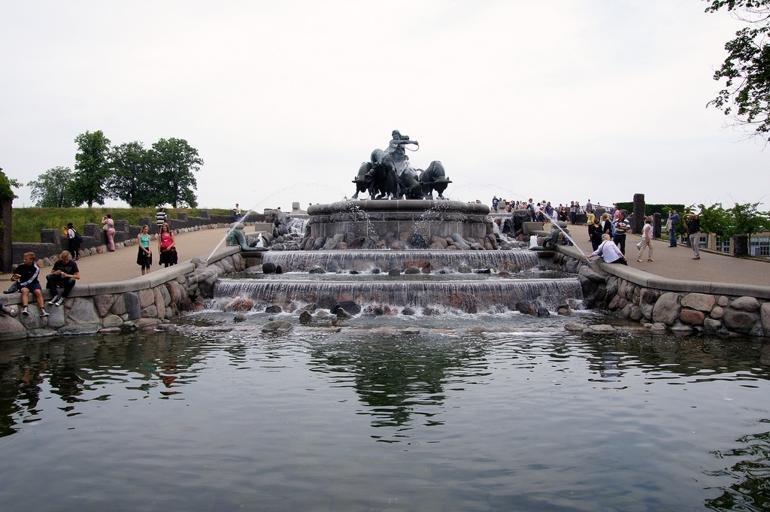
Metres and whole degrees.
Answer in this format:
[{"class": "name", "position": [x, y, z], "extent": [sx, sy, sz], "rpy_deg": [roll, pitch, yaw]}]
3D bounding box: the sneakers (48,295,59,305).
[{"class": "sneakers", "position": [-8.951, 1.198, 13.421], "extent": [0.131, 0.120, 0.332], "rpy_deg": [1, 14, 6]}]

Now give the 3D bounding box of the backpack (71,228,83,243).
[{"class": "backpack", "position": [-15.712, -1.049, 25.187], "extent": [0.364, 0.618, 0.559], "rpy_deg": [4, 6, 43]}]

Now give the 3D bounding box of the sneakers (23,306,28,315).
[{"class": "sneakers", "position": [-9.346, 1.419, 12.926], "extent": [0.120, 0.230, 0.197], "rpy_deg": [-2, 5, -26]}]

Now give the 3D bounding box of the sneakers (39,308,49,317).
[{"class": "sneakers", "position": [-9.067, 1.515, 13.285], "extent": [0.118, 0.256, 0.184], "rpy_deg": [2, 5, 26]}]

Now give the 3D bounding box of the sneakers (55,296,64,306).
[{"class": "sneakers", "position": [-8.817, 1.238, 13.471], "extent": [0.094, 0.106, 0.267], "rpy_deg": [26, 7, -25]}]
